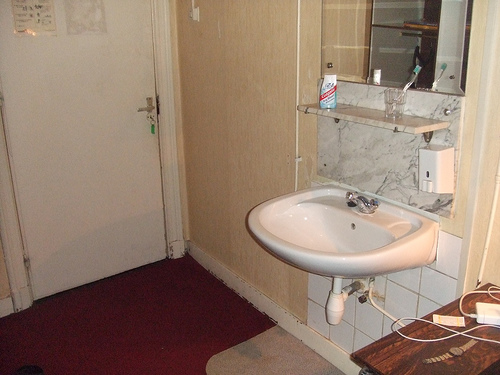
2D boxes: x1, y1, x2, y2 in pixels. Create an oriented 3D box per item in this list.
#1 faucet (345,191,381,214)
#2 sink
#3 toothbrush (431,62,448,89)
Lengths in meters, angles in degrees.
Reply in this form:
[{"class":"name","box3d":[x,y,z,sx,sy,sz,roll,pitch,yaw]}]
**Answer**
[{"class":"faucet","box3d":[0.513,0.069,1.891,0.065,0.077,0.194,-11,21,-21]},{"class":"sink","box3d":[0.373,0.203,1.744,0.468,0.181,0.537,-14,23,-26]},{"class":"toothbrush","box3d":[0.757,-0.445,1.620,0.042,0.110,0.013,12,29,23]}]
